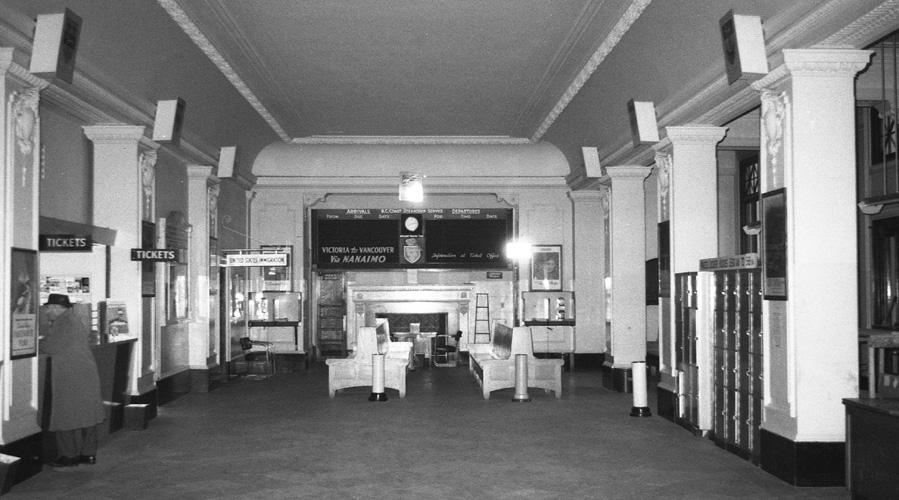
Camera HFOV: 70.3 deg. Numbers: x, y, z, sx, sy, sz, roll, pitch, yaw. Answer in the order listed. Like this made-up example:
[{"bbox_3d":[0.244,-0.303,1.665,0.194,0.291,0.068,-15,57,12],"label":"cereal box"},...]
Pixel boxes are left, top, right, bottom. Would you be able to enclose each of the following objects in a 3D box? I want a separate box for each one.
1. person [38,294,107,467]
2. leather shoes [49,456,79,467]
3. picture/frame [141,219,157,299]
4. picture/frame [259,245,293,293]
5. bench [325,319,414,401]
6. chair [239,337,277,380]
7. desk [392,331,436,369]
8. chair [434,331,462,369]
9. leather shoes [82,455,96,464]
[{"bbox_3d":[-5.709,1.963,9.648,0.814,2.589,0.531,-1,2,-17],"label":"person"},{"bbox_3d":[-5.779,3.170,9.572,0.330,0.086,0.189,0,-8,-8],"label":"leather shoes"},{"bbox_3d":[-5.940,0.188,12.600,0.215,1.518,0.759,-1,2,-20],"label":"picture/frame"},{"bbox_3d":[-4.878,0.528,18.108,0.913,1.320,1.061,-1,1,-14],"label":"picture/frame"},{"bbox_3d":[-1.689,2.483,14.783,1.676,1.544,2.317,0,1,10],"label":"bench"},{"bbox_3d":[-5.364,3.027,17.417,1.087,1.149,1.297,0,-2,-7],"label":"chair"},{"bbox_3d":[-0.924,2.869,19.453,0.874,1.262,1.445,0,11,-1],"label":"desk"},{"bbox_3d":[-0.065,2.963,19.091,0.901,0.865,0.671,0,5,-6],"label":"chair"},{"bbox_3d":[-5.510,3.190,9.726,0.190,0.101,0.128,-2,-5,-9],"label":"leather shoes"}]
